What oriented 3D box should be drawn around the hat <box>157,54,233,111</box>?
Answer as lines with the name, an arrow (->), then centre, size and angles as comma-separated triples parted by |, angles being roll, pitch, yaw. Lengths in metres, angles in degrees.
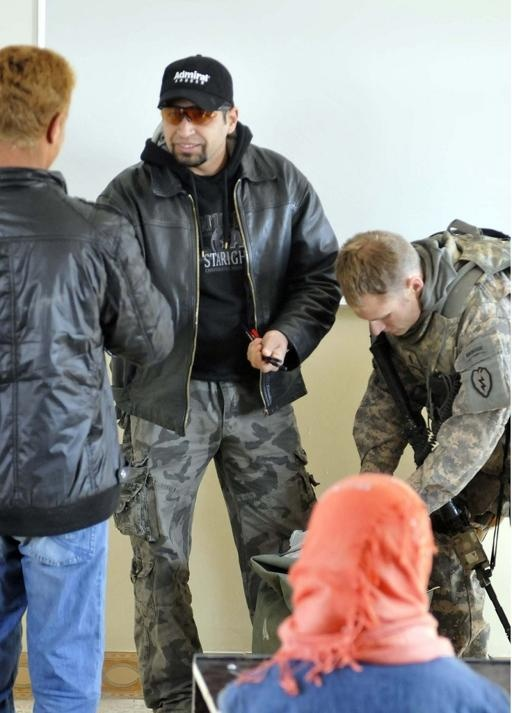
hat -> -0.142, -0.684, 1.973 | 0.188, 0.116, 0.222 | 3, 25, -4
